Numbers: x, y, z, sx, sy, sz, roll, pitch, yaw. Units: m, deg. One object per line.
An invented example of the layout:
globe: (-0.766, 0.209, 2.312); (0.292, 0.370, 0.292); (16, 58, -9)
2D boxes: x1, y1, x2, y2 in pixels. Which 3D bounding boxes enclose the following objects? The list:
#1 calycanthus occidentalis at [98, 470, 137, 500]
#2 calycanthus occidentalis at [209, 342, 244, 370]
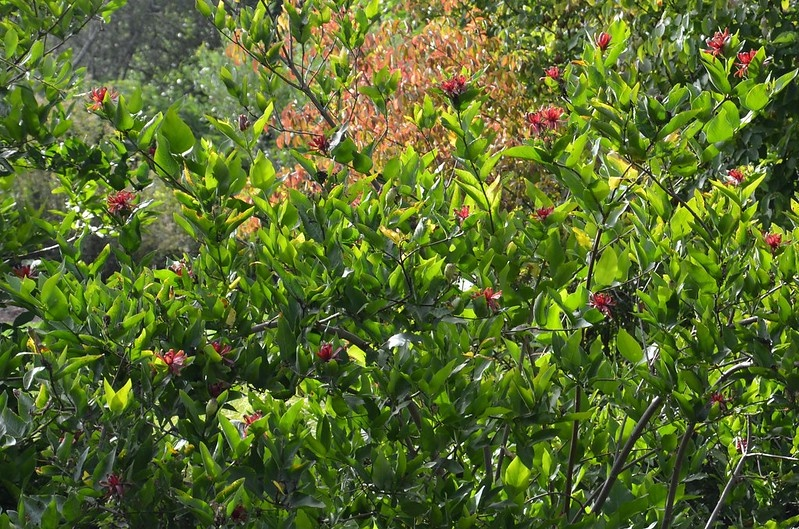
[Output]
calycanthus occidentalis: (-1.004, 0.776, 5.640); (0.106, 0.119, 0.073); (-3, 22, 5)
calycanthus occidentalis: (-0.630, 0.327, 5.751); (0.095, 0.109, 0.077); (-8, 22, -6)
